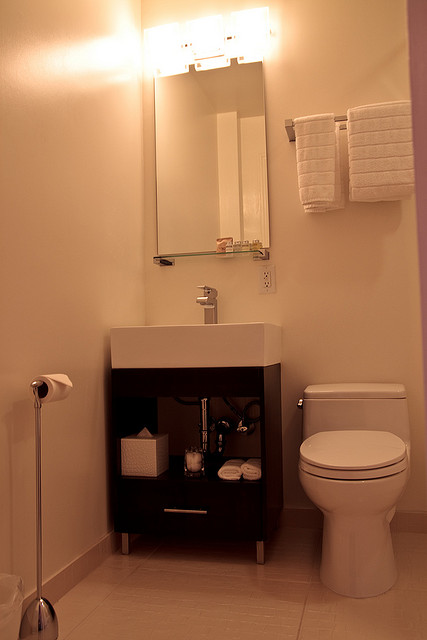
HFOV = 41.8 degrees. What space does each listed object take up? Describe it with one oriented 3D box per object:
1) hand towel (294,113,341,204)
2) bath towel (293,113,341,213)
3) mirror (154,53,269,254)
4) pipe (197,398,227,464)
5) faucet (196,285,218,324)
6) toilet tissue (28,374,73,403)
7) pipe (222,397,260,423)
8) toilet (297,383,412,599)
[{"bbox_3d":[0.382,-0.601,2.091,0.147,0.326,0.028,-2,-1,14],"label":"hand towel"},{"bbox_3d":[0.381,-0.585,2.112,0.160,0.347,0.047,-10,19,-6],"label":"bath towel"},{"bbox_3d":[0.012,-0.680,2.317,0.522,0.853,0.033,2,4,6],"label":"mirror"},{"bbox_3d":[-0.016,0.422,2.139,0.090,0.254,0.314,-2,-2,10],"label":"pipe"},{"bbox_3d":[-0.023,-0.056,2.169,0.063,0.142,0.211,-2,-2,3],"label":"faucet"},{"bbox_3d":[-0.408,0.174,1.439,0.051,0.067,0.110,-2,-2,27],"label":"toilet tissue"},{"bbox_3d":[0.107,0.358,2.195,0.140,0.101,0.112,-2,-2,3],"label":"pipe"},{"bbox_3d":[0.460,0.509,1.768,0.373,0.554,0.561,-2,-2,8],"label":"toilet"}]
